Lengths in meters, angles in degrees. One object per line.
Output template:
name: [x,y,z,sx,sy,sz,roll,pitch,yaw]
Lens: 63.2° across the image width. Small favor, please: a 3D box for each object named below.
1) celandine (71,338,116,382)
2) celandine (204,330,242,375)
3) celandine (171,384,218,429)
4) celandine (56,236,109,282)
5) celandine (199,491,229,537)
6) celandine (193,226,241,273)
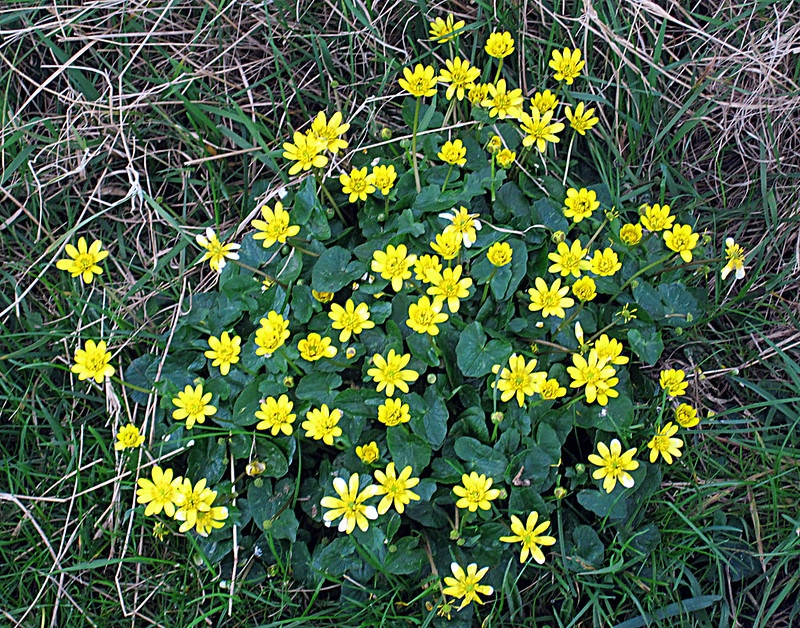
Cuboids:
celandine: [-1.183,0.191,2.502,0.180,0.184,0.068,18,110,-14]
celandine: [-0.678,0.157,2.529,0.151,0.243,0.160,-1,86,2]
celandine: [-0.770,0.345,2.421,0.145,0.038,0.179,11,76,2]
celandine: [-1.259,-0.224,2.627,0.222,0.240,0.070,-8,70,-24]
celandine: [-0.676,0.743,2.341,0.099,0.037,0.108,-1,100,-26]
celandine: [-0.731,-0.239,2.612,0.183,0.066,0.207,-18,91,14]
